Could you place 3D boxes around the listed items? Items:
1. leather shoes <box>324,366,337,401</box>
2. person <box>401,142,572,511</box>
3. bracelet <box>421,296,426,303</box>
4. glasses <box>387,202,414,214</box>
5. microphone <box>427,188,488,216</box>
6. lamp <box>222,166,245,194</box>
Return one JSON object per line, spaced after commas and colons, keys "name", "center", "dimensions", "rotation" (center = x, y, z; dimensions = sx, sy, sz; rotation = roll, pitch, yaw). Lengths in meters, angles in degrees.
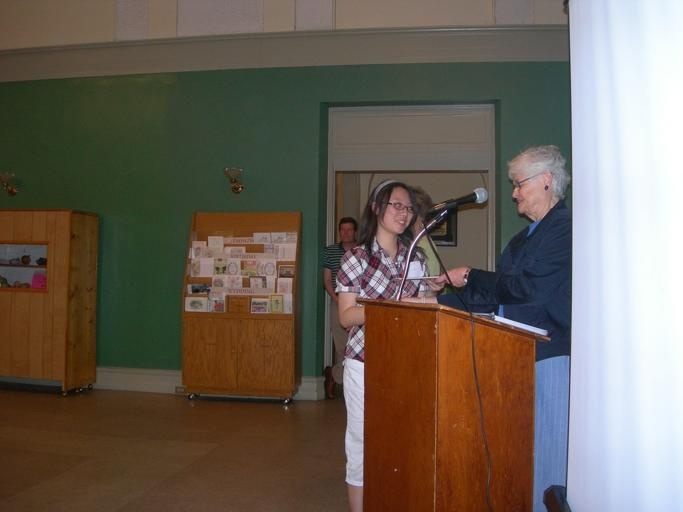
{"name": "leather shoes", "center": [-0.119, 1.234, 6.082], "dimensions": [0.092, 0.328, 0.120], "rotation": [-4, 14, -3]}
{"name": "person", "center": [0.917, 0.314, 3.351], "dimensions": [0.557, 1.875, 0.549], "rotation": [0, -1, 20]}
{"name": "bracelet", "center": [0.401, 0.213, 3.091], "dimensions": [0.013, 0.020, 0.026], "rotation": [1, 4, 1]}
{"name": "glasses", "center": [0.307, -0.251, 3.268], "dimensions": [0.137, 0.052, 0.025], "rotation": [1, -1, -9]}
{"name": "microphone", "center": [0.609, -0.276, 3.148], "dimensions": [0.232, 0.166, 0.383], "rotation": [0, -2, 35]}
{"name": "lamp", "center": [-1.048, -0.750, 6.191], "dimensions": [0.205, 0.312, 0.230], "rotation": [2, 3, 16]}
